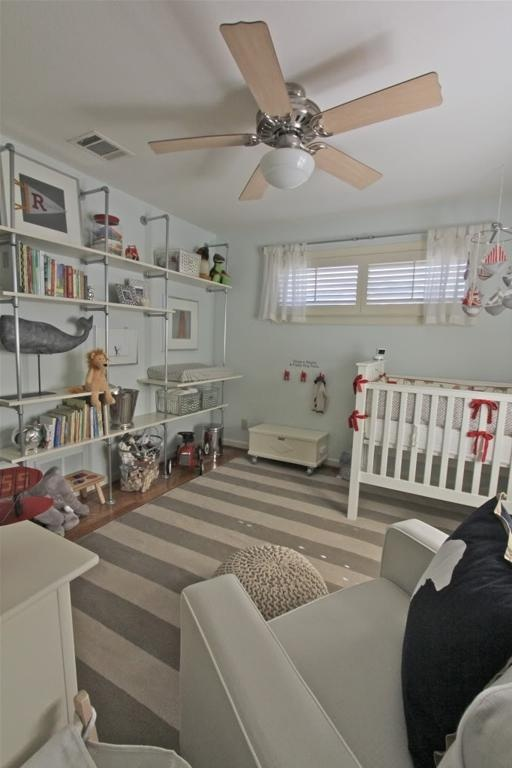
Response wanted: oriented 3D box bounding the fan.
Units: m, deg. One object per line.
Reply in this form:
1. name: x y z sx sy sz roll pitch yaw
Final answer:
1. fan: 0.077 -0.933 1.861 0.814 0.355 0.953 2 -4 8

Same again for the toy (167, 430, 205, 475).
1. toy: -0.525 0.505 3.819 0.194 0.322 0.340 6 11 23

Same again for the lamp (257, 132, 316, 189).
1. lamp: 0.108 -0.761 1.794 0.172 0.113 0.172 0 1 36

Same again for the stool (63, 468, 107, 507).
1. stool: -0.975 0.582 2.901 0.190 0.141 0.190 1 3 37

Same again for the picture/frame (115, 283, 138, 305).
1. picture/frame: -0.792 -0.557 3.126 0.021 0.186 0.184 -5 3 22

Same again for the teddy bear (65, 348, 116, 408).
1. teddy bear: -0.872 -0.033 2.735 0.235 0.308 0.127 -5 11 -39

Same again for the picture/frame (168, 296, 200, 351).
1. picture/frame: -0.563 -0.486 3.965 0.028 0.662 0.465 -2 0 22

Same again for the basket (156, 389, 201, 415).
1. basket: -0.566 0.117 3.626 0.189 0.145 0.250 3 5 30
